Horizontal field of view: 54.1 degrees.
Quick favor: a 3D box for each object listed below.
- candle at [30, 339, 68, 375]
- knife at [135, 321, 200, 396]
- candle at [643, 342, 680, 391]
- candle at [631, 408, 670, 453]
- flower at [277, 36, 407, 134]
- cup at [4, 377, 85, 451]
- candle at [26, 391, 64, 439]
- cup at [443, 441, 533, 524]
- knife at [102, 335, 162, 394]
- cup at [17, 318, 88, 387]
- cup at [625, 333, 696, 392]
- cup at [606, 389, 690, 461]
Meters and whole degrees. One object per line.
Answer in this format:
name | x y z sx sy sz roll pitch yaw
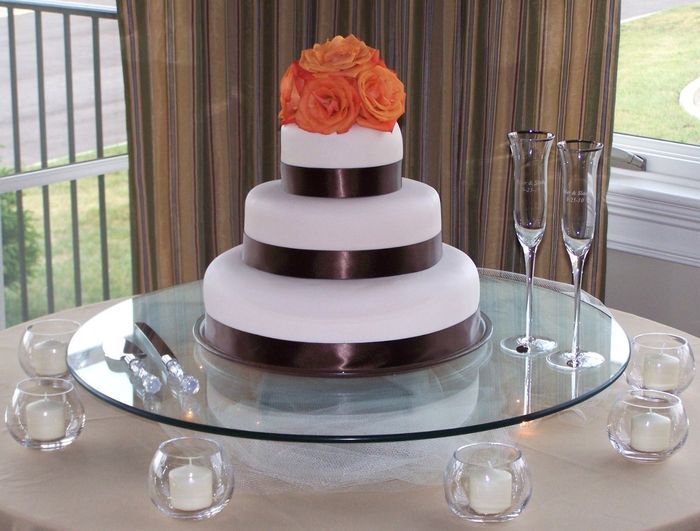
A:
candle | -0.585 0.181 1.333 0.067 0.072 0.073 2 10 -5
knife | -0.343 0.164 1.256 0.063 0.057 0.364 -5 24 -24
candle | 0.581 0.192 1.286 0.060 0.075 0.065 1 1 7
candle | 0.489 0.269 1.110 0.059 0.074 0.064 0 5 2
flower | -0.050 -0.340 1.348 0.262 0.147 0.269 15 4 -34
cup | -0.513 0.251 1.145 0.109 0.103 0.114 2 12 0
candle | -0.512 0.249 1.140 0.060 0.078 0.064 -1 7 -7
cup | 0.195 0.306 0.981 0.105 0.085 0.111 -4 11 1
knife | -0.393 0.166 1.238 0.061 0.054 0.240 4 17 -28
cup | -0.603 0.161 1.384 0.112 0.104 0.120 2 11 0
cup | 0.600 0.163 1.331 0.106 0.104 0.114 1 11 0
cup | 0.484 0.265 1.117 0.105 0.101 0.112 -5 13 1
